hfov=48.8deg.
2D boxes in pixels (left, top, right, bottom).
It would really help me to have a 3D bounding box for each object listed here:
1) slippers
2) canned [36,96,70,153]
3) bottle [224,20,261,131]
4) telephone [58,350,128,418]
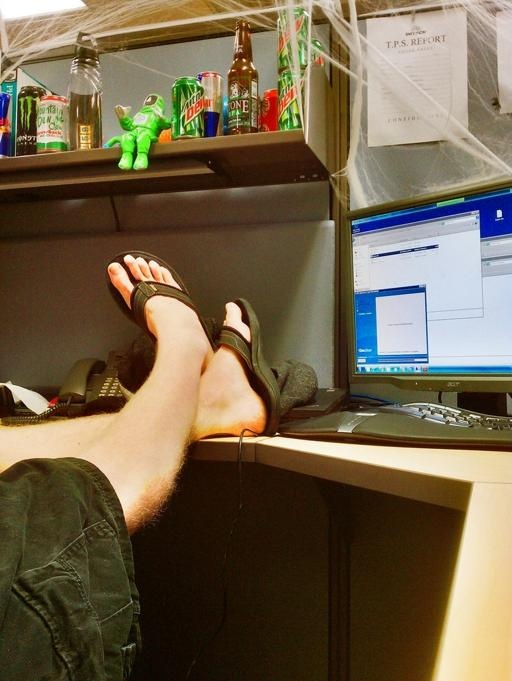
[{"bbox_3d":[-0.036,-0.003,0.774,0.141,0.272,0.055,-16,-28,7],"label":"slippers"},{"bbox_3d":[-0.344,-0.360,0.945,0.052,0.096,0.047,-2,9,-12],"label":"canned"},{"bbox_3d":[-0.022,-0.411,0.878,0.051,0.195,0.112,0,8,0],"label":"bottle"},{"bbox_3d":[-0.260,0.076,0.889,0.086,0.039,0.122,-4,30,5],"label":"telephone"}]
